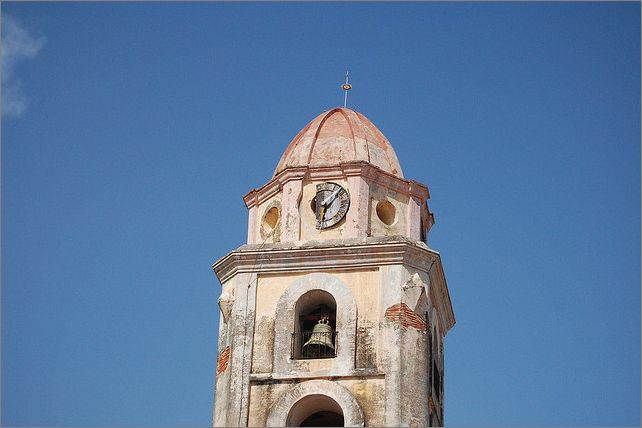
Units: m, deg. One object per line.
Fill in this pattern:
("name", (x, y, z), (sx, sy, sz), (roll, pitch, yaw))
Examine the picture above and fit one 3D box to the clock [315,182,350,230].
("clock", (0.446, -0.486, 52.566), (1.596, 2.343, 0.249), (-4, -26, 12))
